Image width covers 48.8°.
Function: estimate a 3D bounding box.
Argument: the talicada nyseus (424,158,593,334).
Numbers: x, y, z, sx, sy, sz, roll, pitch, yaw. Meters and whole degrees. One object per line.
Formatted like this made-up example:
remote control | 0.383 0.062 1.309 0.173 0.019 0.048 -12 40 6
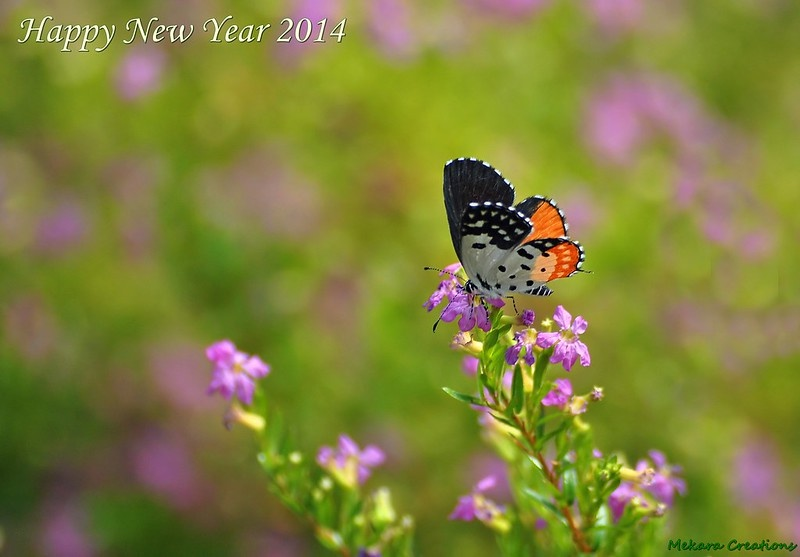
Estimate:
talicada nyseus | 0.430 -0.132 3.554 0.509 0.514 0.574 -2 -8 0
